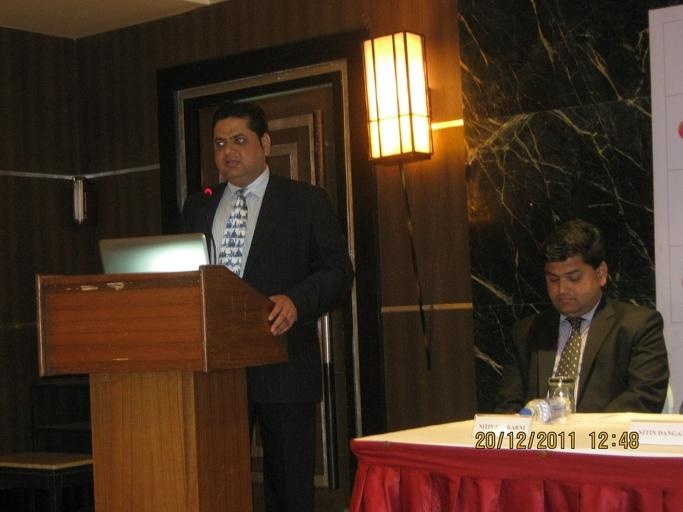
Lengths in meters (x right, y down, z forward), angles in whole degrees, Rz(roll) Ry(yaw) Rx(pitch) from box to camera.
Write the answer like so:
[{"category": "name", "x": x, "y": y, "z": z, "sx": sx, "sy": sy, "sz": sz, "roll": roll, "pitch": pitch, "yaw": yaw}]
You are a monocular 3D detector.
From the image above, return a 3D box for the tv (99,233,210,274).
[{"category": "tv", "x": -0.644, "y": -0.007, "z": 3.287, "sx": 0.392, "sy": 0.138, "sz": 0.037, "roll": -7, "pitch": -5, "yaw": 11}]

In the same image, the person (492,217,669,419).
[{"category": "person", "x": 1.001, "y": 0.259, "z": 4.117, "sx": 0.699, "sy": 0.849, "sz": 0.352, "roll": -8, "pitch": -6, "yaw": 34}]

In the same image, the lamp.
[{"category": "lamp", "x": 0.321, "y": -0.258, "z": 4.657, "sx": 0.279, "sy": 1.629, "sz": 0.281, "roll": -1, "pitch": -6, "yaw": -40}]

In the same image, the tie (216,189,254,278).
[{"category": "tie", "x": -0.434, "y": -0.093, "z": 3.861, "sx": 0.119, "sy": 0.362, "sz": 0.125, "roll": -6, "pitch": -5, "yaw": 14}]
